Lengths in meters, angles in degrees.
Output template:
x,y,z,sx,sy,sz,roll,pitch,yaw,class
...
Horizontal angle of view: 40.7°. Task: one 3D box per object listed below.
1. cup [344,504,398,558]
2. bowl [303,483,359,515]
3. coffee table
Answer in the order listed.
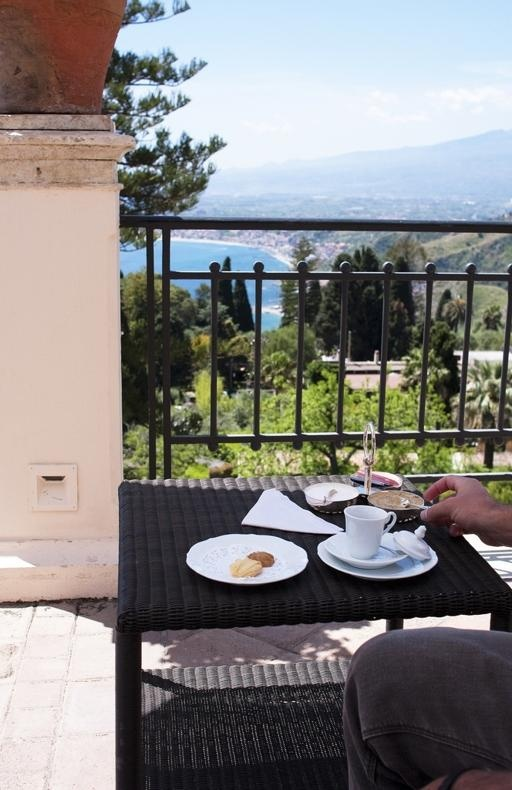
x,y,z,sx,sy,sz,roll,pitch,yaw,class
0.152,0.179,0.899,0.074,0.052,0.052,-1,9,-5,cup
0.121,0.165,1.119,0.059,0.023,0.046,-5,13,-8,bowl
-0.015,0.206,0.964,0.484,0.250,0.337,0,5,-7,coffee table
